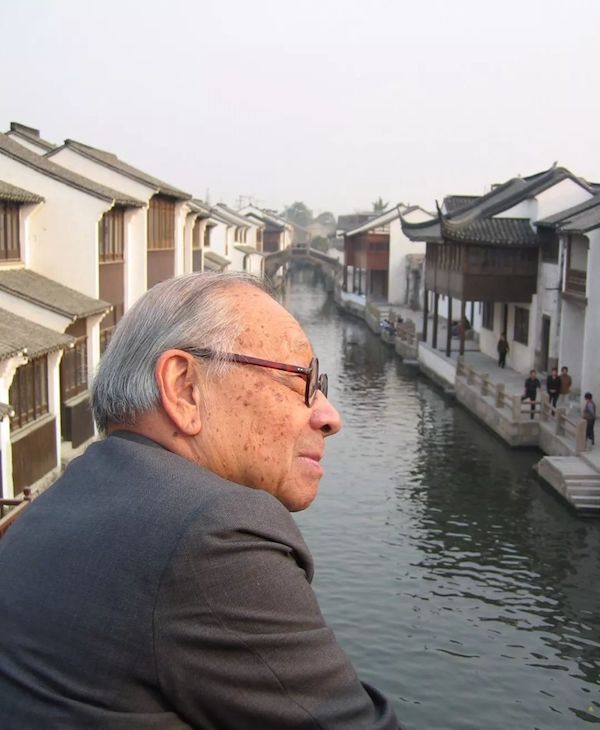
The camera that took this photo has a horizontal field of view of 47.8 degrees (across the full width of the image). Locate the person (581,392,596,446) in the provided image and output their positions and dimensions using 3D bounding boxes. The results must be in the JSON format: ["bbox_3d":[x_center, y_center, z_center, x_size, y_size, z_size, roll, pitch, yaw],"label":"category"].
[{"bbox_3d":[8.176,1.507,19.136,0.400,1.273,2.489,6,10,23],"label":"person"}]

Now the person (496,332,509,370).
[{"bbox_3d":[9.055,-0.613,30.180,0.460,1.568,1.246,5,10,16],"label":"person"}]
